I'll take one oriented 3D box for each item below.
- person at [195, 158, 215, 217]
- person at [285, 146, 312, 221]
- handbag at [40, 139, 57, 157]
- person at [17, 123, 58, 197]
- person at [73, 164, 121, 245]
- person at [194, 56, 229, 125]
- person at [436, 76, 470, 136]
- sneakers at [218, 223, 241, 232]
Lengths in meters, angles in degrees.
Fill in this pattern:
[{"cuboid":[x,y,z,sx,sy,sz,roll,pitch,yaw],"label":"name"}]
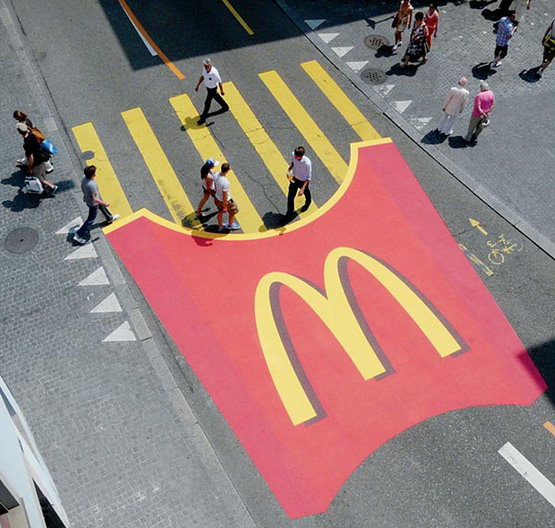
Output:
[{"cuboid":[-1.584,-1.829,18.322,0.696,1.454,0.360,-7,35,-21],"label":"person"},{"cuboid":[0.518,-1.975,18.341,0.710,1.822,0.620,-23,49,-22],"label":"person"},{"cuboid":[-5.706,-2.865,19.013,0.267,0.400,0.297,-19,25,-30],"label":"handbag"},{"cuboid":[-5.889,-2.587,18.868,0.542,1.748,0.984,-7,58,3],"label":"person"},{"cuboid":[-4.449,-1.377,18.773,1.065,1.363,0.604,-38,85,-30],"label":"person"},{"cuboid":[-1.848,-4.727,21.228,1.006,1.519,0.719,-30,74,-16],"label":"person"},{"cuboid":[4.686,-4.252,20.415,0.501,1.894,0.424,15,56,1],"label":"person"},{"cuboid":[-1.196,-0.904,18.982,0.559,0.269,0.240,-7,78,-4],"label":"sneakers"}]
